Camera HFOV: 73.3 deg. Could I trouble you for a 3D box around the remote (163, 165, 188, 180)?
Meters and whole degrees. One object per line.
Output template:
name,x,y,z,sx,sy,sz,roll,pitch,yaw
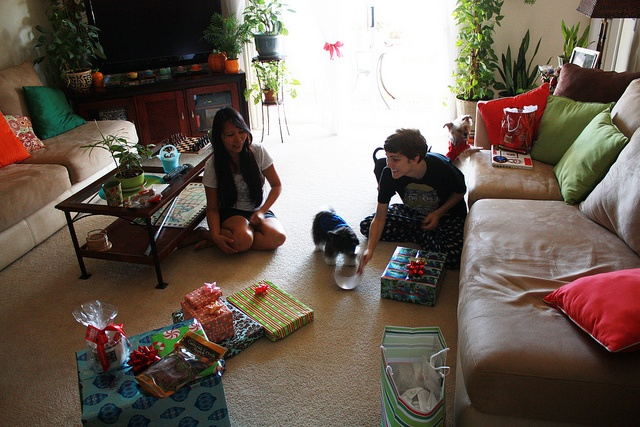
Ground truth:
remote,-1.085,-0.315,3.271,0.087,0.039,0.171,22,38,29

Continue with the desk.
desk,-1.690,-1.107,4.438,1.140,0.682,0.371,-19,33,-17

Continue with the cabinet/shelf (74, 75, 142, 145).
cabinet/shelf,-2.226,-1.165,4.671,0.444,0.649,0.697,29,45,35

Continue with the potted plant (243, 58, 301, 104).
potted plant,-0.539,-1.630,5.091,0.622,0.413,0.612,-28,45,-35

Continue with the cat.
cat,0.100,0.128,3.082,0.187,0.239,0.564,-10,27,-7

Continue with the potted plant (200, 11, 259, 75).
potted plant,-0.906,-2.048,5.187,0.630,0.737,0.681,10,30,19

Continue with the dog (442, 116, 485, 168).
dog,1.221,-0.668,3.787,0.257,0.315,0.436,-27,6,-11

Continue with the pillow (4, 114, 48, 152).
pillow,-2.591,-0.717,3.796,0.101,0.320,0.337,-29,13,12

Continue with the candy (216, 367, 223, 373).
candy,-0.479,0.734,2.034,0.027,0.009,0.037,8,53,0

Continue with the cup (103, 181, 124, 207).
cup,-1.391,-0.143,2.933,0.115,0.157,0.176,-2,32,-11

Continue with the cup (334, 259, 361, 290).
cup,0.184,0.373,2.990,0.171,0.147,0.326,-3,27,1

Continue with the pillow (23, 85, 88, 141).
pillow,-2.518,-0.943,4.081,0.310,0.367,0.529,17,32,14

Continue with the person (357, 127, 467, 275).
person,0.600,-0.139,3.016,0.819,0.930,0.860,5,29,31

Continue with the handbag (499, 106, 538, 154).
handbag,1.521,-0.628,3.272,0.270,0.325,0.203,16,28,30

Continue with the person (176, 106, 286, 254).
person,-0.681,-0.227,3.153,0.864,0.996,0.631,-13,26,-23

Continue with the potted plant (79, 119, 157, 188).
potted plant,-1.728,-0.501,3.619,0.470,0.630,0.537,-12,38,-18
